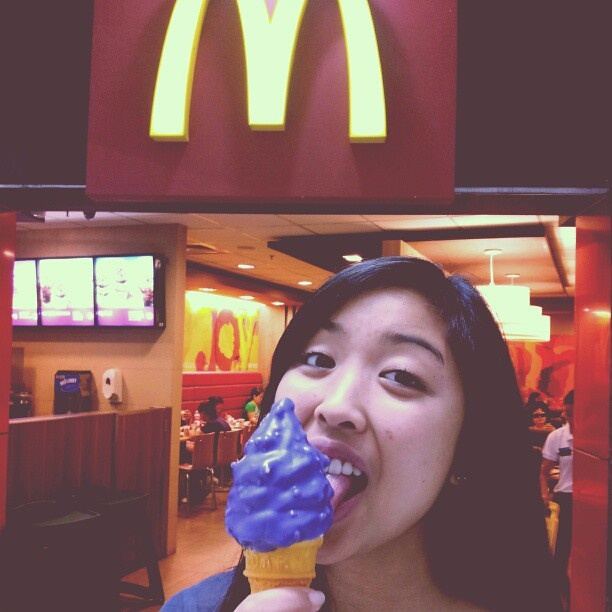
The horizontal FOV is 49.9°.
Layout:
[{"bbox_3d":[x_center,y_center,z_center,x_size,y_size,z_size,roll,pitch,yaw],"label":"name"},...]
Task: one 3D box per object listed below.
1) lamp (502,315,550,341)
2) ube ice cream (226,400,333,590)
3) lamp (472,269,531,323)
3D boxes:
[{"bbox_3d":[0.880,0.097,2.614,0.184,0.094,0.206,0,-5,0],"label":"lamp"},{"bbox_3d":[-0.074,0.527,1.812,0.291,0.532,0.214,3,-9,-9],"label":"ube ice cream"},{"bbox_3d":[0.741,-0.041,2.451,0.151,0.117,0.168,0,2,1],"label":"lamp"}]
